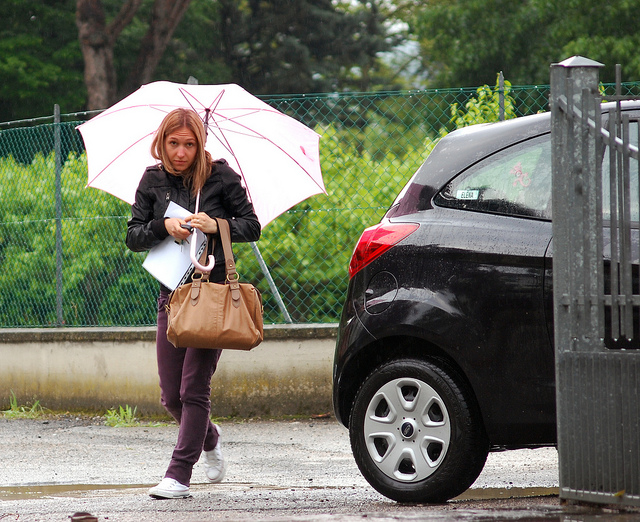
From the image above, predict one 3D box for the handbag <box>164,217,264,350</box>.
[{"bbox_3d":[-0.710,0.160,9.150,0.648,0.858,0.241,0,4,-11],"label":"handbag"}]
